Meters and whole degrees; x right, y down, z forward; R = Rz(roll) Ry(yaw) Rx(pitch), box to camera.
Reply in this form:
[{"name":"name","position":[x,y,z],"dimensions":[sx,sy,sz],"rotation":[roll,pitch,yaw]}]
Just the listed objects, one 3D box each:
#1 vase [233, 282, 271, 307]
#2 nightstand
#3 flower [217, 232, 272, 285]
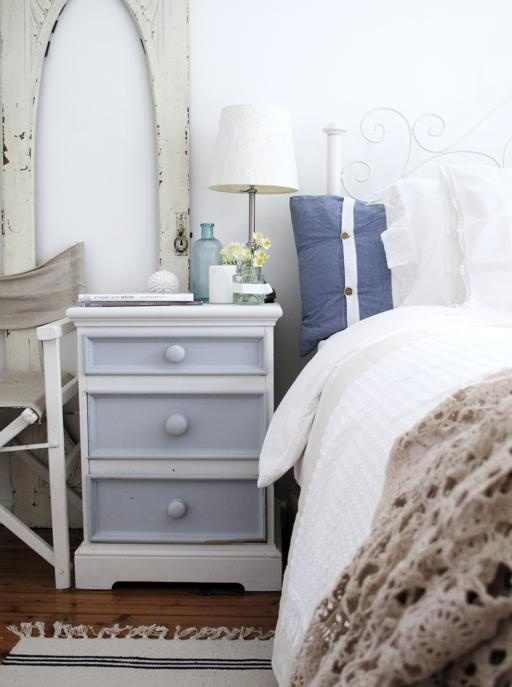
[{"name":"vase","position":[-0.002,-0.116,1.777],"dimensions":[0.064,0.040,0.065],"rotation":[-2,5,-26]},{"name":"nightstand","position":[-0.181,0.220,1.837],"dimensions":[0.486,0.644,0.357],"rotation":[0,7,0]},{"name":"flower","position":[-0.024,-0.193,1.801],"dimensions":[0.135,0.135,0.132],"rotation":[2,0,-3]}]
